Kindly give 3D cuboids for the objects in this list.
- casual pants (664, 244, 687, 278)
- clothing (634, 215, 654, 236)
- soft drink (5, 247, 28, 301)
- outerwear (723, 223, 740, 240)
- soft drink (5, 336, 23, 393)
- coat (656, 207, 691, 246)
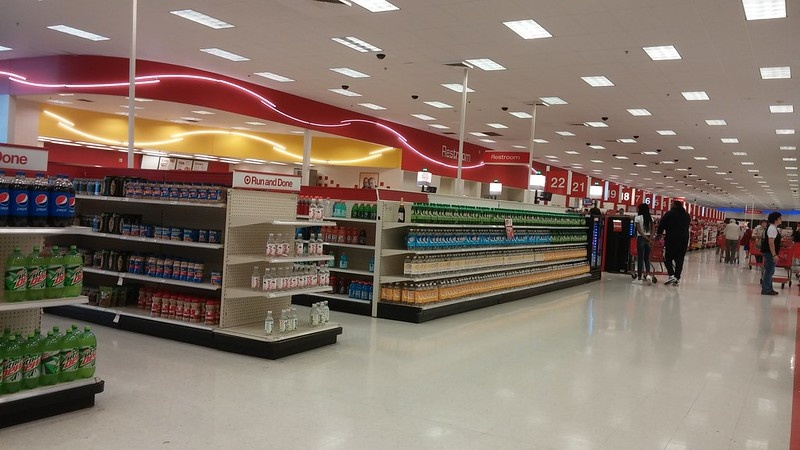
[{"bbox_3d":[8.329,1.111,15.090,0.538,1.219,1.235,10,13,28],"label":"casual pants"},{"bbox_3d":[7.189,-0.010,14.568,0.730,0.619,0.366,1,9,9],"label":"clothing"},{"bbox_3d":[-4.556,0.591,5.850,0.239,0.607,0.224,-7,16,-41],"label":"soft drink"},{"bbox_3d":[14.797,0.293,22.062,0.794,0.643,0.442,10,14,30],"label":"outerwear"},{"bbox_3d":[-4.592,1.657,5.869,0.197,0.660,0.214,0,13,-18],"label":"soft drink"},{"bbox_3d":[8.098,0.100,14.732,0.882,1.403,1.307,3,12,44],"label":"coat"}]
